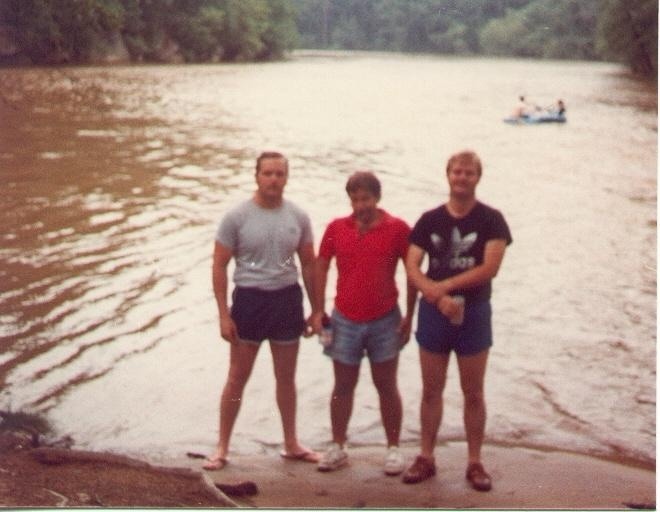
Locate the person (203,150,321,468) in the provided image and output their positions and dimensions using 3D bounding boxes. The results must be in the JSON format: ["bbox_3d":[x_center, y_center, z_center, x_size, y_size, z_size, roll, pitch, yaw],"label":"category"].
[{"bbox_3d":[-0.406,0.355,3.567,0.678,1.859,0.351,-2,19,-2],"label":"person"}]

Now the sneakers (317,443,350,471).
[{"bbox_3d":[0.026,1.194,3.734,0.224,0.155,0.114,1,4,-43],"label":"sneakers"}]

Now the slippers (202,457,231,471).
[{"bbox_3d":[-0.688,1.252,3.703,0.133,0.056,0.079,3,-2,-17],"label":"slippers"}]

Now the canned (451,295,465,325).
[{"bbox_3d":[0.689,0.293,3.307,0.067,0.161,0.046,1,19,7],"label":"canned"}]

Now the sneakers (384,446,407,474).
[{"bbox_3d":[0.384,1.226,3.692,0.116,0.172,0.062,9,-13,6],"label":"sneakers"}]

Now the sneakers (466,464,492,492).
[{"bbox_3d":[0.857,1.283,3.548,0.103,0.124,0.208,-7,-2,-12],"label":"sneakers"}]

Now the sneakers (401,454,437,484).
[{"bbox_3d":[0.523,1.240,3.629,0.221,0.132,0.111,-2,4,-27],"label":"sneakers"}]

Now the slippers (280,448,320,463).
[{"bbox_3d":[-0.177,1.196,3.750,0.228,0.101,0.082,-2,1,13],"label":"slippers"}]
